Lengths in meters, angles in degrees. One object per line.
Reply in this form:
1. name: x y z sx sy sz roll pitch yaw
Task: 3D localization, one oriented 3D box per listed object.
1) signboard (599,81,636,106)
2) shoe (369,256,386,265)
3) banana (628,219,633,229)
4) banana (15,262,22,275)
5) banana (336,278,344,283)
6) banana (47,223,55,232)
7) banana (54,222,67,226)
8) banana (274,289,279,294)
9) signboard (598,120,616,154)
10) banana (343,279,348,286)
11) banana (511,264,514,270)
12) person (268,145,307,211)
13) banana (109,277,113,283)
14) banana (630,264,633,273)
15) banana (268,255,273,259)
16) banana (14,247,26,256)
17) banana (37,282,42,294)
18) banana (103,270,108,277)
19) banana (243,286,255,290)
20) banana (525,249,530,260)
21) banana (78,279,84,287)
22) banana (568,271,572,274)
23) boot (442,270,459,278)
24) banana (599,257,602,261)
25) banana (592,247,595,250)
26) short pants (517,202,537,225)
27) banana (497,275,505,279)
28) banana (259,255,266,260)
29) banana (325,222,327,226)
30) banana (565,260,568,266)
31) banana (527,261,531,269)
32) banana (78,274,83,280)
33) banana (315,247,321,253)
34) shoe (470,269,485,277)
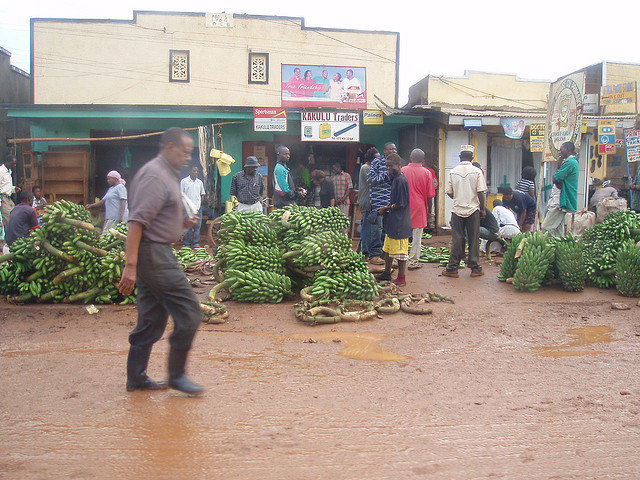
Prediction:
1. signboard: 8.784 -4.209 20.765 0.104 0.552 0.901 20 -13 -37
2. shoe: 1.018 0.387 12.581 0.245 0.098 0.113 -1 0 33
3. banana: 4.985 -0.231 11.300 0.047 0.135 0.079 3 6 19
4. banana: -4.335 0.418 10.138 0.079 0.172 0.051 -3 7 -32
5. banana: 0.292 0.596 10.282 0.137 0.046 0.033 38 37 4
6. banana: -3.837 -0.163 10.022 0.038 0.038 0.135 15 56 45
7. banana: -3.705 -0.209 10.023 0.127 0.045 0.025 0 6 -11
8. banana: -0.652 0.768 10.461 0.053 0.027 0.052 -11 -24 15
9. signboard: 7.164 -2.530 17.657 0.409 0.810 0.291 3 6 19
10. banana: 0.374 0.619 10.309 0.035 0.102 0.031 -10 10 0
11. banana: 3.164 0.448 11.599 0.050 0.092 0.035 0 1 19
12. person: -0.564 -0.823 13.065 0.718 1.808 0.628 2 29 3
13. banana: -3.025 0.589 10.193 0.044 0.074 0.079 -1 6 -17
14. banana: 4.702 0.428 10.651 0.038 0.105 0.019 4 7 25
15. banana: -0.742 0.256 10.619 0.056 0.039 0.011 -3 7 -32
16. banana: -4.312 0.169 10.107 0.141 0.036 0.040 -32 45 -9
17. banana: -4.039 0.696 10.140 0.081 0.119 0.029 -3 9 -43
18. banana: -3.093 0.485 10.149 0.061 0.096 0.063 -1 6 -17
19. banana: -1.047 0.706 10.330 0.051 0.048 0.176 3 -2 35
20. banana: 3.303 0.224 11.214 0.056 0.115 0.150 1 6 4
21. banana: -3.464 0.635 10.218 0.063 0.092 0.024 18 -5 3
22. banana: 3.898 0.514 10.994 0.087 0.043 0.022 1 -5 12
23. boot: 2.231 0.573 12.053 0.288 0.119 0.243 2 6 13
24. banana: 4.457 0.310 11.196 0.039 0.048 0.012 2 -19 35
25. banana: 4.458 0.152 11.485 0.032 0.032 0.034 -1 3 14
26. short pants: 4.142 -0.518 14.145 0.407 0.294 0.520 -11 -29 22
27. banana: 2.997 0.617 11.694 0.044 0.063 0.135 -2 6 -25
28. banana: -0.869 0.268 10.552 0.024 0.049 0.088 3 -6 34
29. banana: 0.083 -0.226 10.809 0.044 0.056 0.021 -3 9 -39
30. banana: 3.866 0.372 11.048 0.044 0.081 0.027 0 -1 32
31. banana: 3.275 0.403 11.065 0.032 0.108 0.035 12 -8 0
32. banana: -3.465 0.538 10.170 0.060 0.077 0.032 5 -2 -16
33. banana: -0.023 0.158 10.387 0.082 0.071 0.034 -4 7 -39
34. shoe: 2.662 0.573 11.998 0.243 0.092 0.108 -7 -38 -13
